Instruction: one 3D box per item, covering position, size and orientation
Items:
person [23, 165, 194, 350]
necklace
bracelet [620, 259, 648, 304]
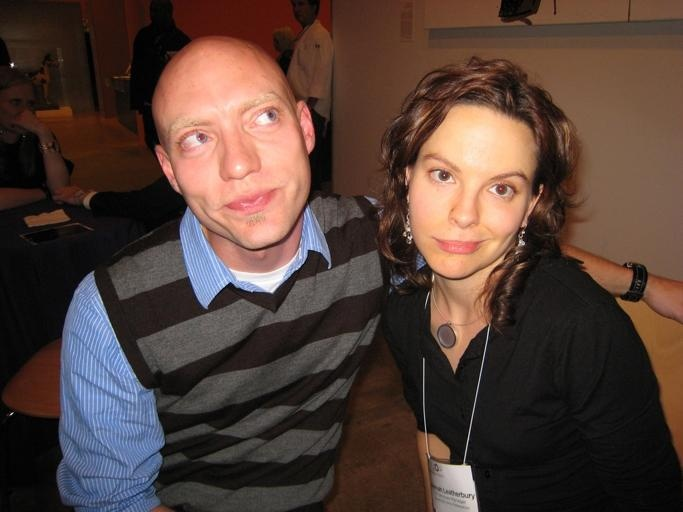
[{"bbox_3d":[-1.346,-0.145,3.487,0.932,0.487,0.918,-9,26,-13],"label":"person"},{"bbox_3d":[0.439,0.227,2.221,0.180,0.173,0.086,27,6,35],"label":"necklace"},{"bbox_3d":[1.137,0.101,2.347,0.097,0.150,0.150,14,0,4],"label":"bracelet"}]
